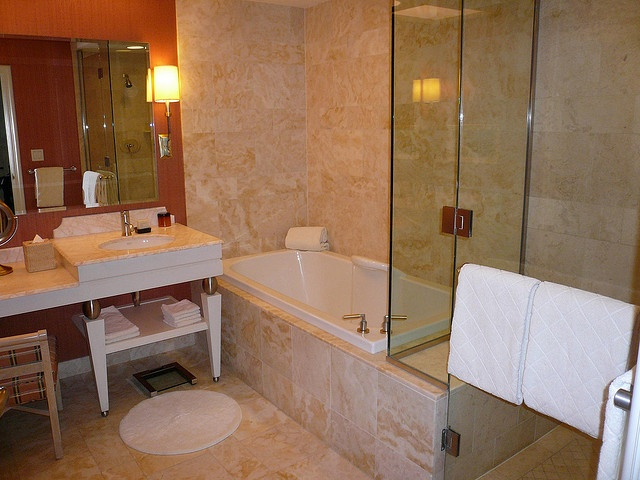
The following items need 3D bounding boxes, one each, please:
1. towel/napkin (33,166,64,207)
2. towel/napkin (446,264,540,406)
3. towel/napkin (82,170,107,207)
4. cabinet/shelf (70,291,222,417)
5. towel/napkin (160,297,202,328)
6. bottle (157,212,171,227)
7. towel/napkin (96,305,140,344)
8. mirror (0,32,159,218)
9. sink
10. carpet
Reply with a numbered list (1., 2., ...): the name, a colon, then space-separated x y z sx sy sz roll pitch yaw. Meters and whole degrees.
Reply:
1. towel/napkin: -1.790 -0.359 3.237 0.213 0.366 0.036 -11 30 -41
2. towel/napkin: 0.660 0.339 1.871 0.120 0.463 0.375 -6 14 -42
3. towel/napkin: -1.563 -0.362 3.399 0.109 0.293 0.173 20 18 23
4. cabinet/shelf: -1.214 0.604 3.433 0.748 0.673 0.816 -8 10 -33
5. towel/napkin: -0.971 0.483 3.375 0.166 0.082 0.204 -11 17 -39
6. bottle: -1.136 -0.145 3.593 0.096 0.100 0.093 2 3 39
7. towel/napkin: -1.333 0.553 3.228 0.185 0.061 0.244 -10 22 -38
8. mirror: -1.633 -0.790 3.272 1.112 1.317 0.050 -12 21 -37
9. sink: -1.209 0.121 3.304 0.968 0.292 0.658 -10 15 -29
10. carpet: -0.850 1.111 3.031 0.736 0.068 0.601 -4 13 -9
